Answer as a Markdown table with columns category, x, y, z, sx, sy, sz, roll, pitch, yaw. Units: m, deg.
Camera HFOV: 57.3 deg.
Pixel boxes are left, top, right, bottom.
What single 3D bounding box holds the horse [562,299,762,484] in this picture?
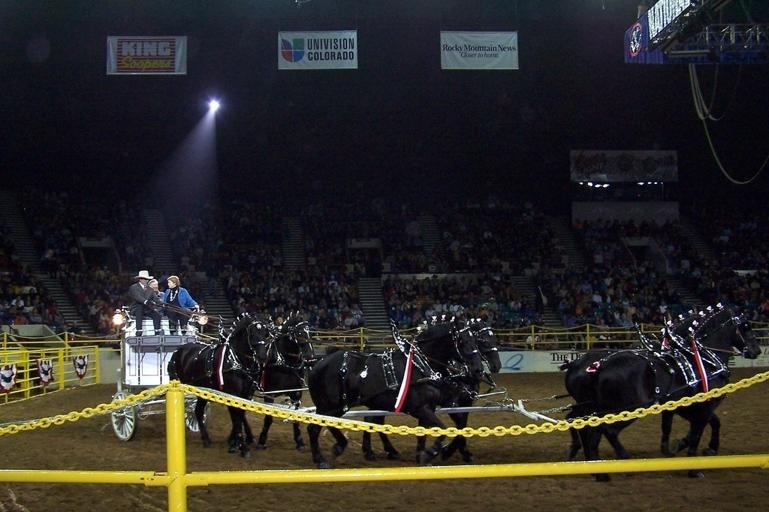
| category | x | y | z | sx | sy | sz | roll | pitch | yaw |
| --- | --- | --- | --- | --- | --- | --- | --- | --- | --- |
| horse | 6.443 | 3.125 | 16.651 | 4.101 | 3.936 | 1.741 | 0 | -4 | -20 |

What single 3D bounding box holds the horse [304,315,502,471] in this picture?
| category | x | y | z | sx | sy | sz | roll | pitch | yaw |
| --- | --- | --- | --- | --- | --- | --- | --- | --- | --- |
| horse | 1.412 | 3.001 | 18.198 | 6.645 | 4.087 | 2.256 | -6 | -8 | 7 |

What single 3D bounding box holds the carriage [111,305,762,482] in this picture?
| category | x | y | z | sx | sy | sz | roll | pitch | yaw |
| --- | --- | --- | --- | --- | --- | --- | --- | --- | --- |
| carriage | -0.369 | 3.478 | 17.198 | 13.769 | 3.178 | 2.082 | 3 | -1 | 6 |
